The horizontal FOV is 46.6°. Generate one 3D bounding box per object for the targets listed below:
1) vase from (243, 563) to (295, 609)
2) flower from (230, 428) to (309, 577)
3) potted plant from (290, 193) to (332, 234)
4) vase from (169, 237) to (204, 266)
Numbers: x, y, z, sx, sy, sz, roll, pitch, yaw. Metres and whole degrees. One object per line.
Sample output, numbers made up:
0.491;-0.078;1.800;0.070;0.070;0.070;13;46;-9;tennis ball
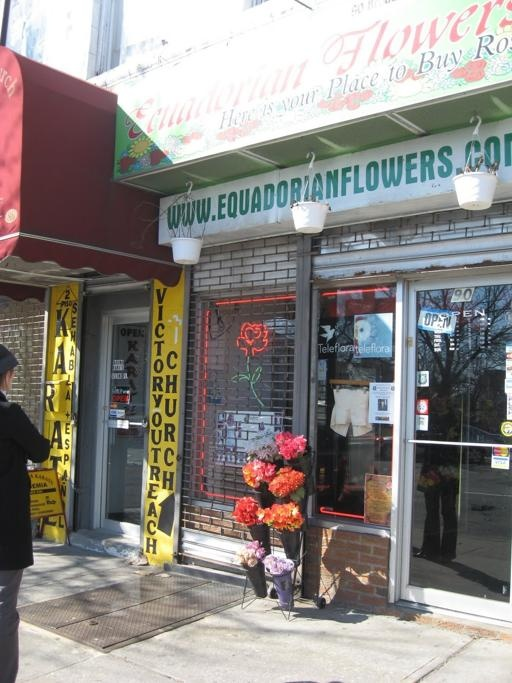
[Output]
0.095;1.654;4.009;0.382;0.248;0.204;2;31;32;vase
0.129;1.070;4.045;0.499;0.883;0.396;-2;-7;35;flower
0.345;-0.823;3.915;0.224;0.157;0.234;2;-8;-4;potted plant
-0.553;-0.738;4.708;0.188;0.233;0.215;7;-7;-35;vase
